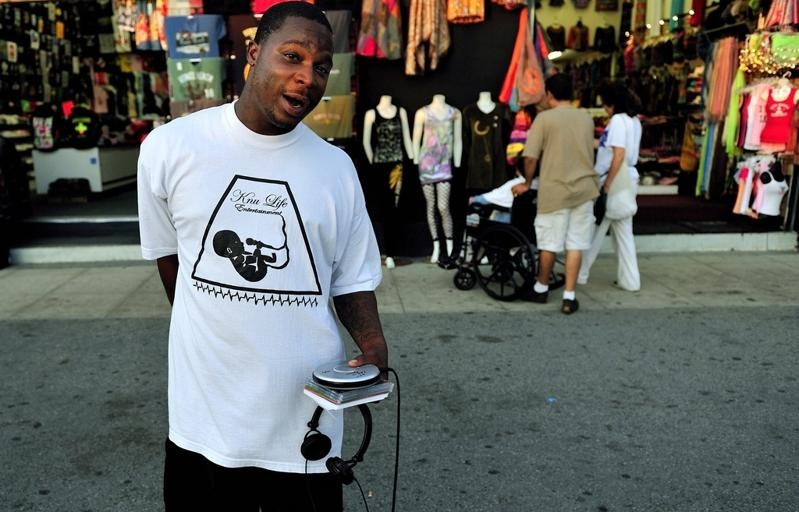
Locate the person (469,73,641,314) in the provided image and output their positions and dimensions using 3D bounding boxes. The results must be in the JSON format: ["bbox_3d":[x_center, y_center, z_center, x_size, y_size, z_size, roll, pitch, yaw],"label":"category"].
[{"bbox_3d":[2.022,-0.764,7.806,1.400,2.547,0.792,-11,17,-36],"label":"person"}]

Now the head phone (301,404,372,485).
[{"bbox_3d":[-0.337,0.973,3.601,0.359,0.457,0.208,-3,14,-9],"label":"head phone"}]
